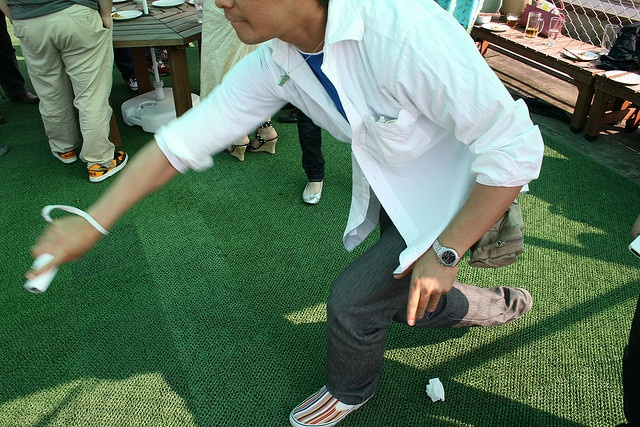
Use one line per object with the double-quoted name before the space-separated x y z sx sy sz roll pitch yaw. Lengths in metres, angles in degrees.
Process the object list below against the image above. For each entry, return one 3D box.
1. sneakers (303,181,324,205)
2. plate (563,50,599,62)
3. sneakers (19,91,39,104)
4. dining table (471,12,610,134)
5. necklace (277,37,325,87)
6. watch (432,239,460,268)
"sneakers" -0.055 -0.168 2.868 0.079 0.095 0.242 1 34 9
"plate" 2.464 -1.511 3.627 0.304 0.051 0.275 1 37 -3
"sneakers" -3.010 -1.213 3.973 0.259 0.114 0.107 0 25 -6
"dining table" 2.062 -1.443 3.996 0.418 0.527 1.416 -13 42 -46
"necklace" -0.067 -0.535 1.356 0.091 0.158 0.041 21 42 -4
"watch" 0.432 0.146 1.352 0.100 0.067 0.096 34 13 3
